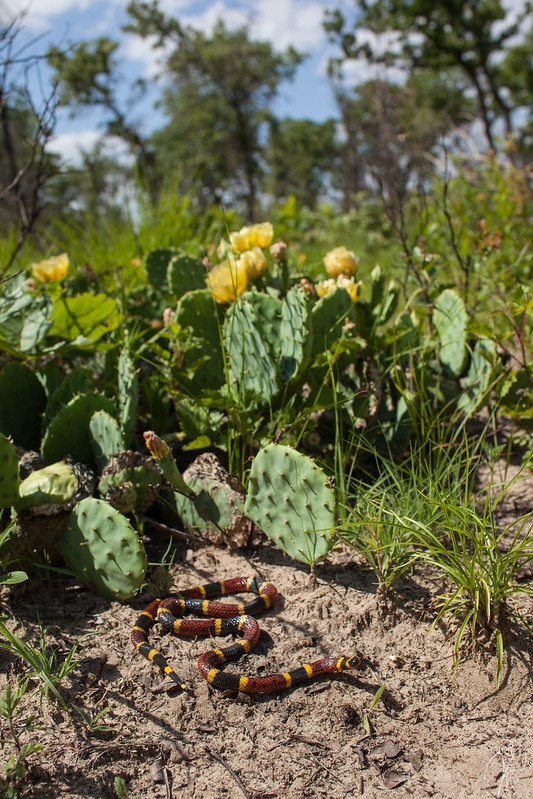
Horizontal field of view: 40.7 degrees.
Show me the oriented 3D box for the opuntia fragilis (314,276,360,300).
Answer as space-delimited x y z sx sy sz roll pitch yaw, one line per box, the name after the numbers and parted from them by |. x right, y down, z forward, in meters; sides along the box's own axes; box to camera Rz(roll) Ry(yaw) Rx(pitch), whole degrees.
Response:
0.304 -0.490 3.109 0.162 0.075 0.122 -6 8 13 | opuntia fragilis

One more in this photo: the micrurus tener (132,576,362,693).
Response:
-0.110 0.786 2.314 0.517 0.179 0.635 -20 18 -28 | micrurus tener

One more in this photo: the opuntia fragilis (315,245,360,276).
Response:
0.316 -0.622 3.218 0.155 0.157 0.150 5 50 17 | opuntia fragilis

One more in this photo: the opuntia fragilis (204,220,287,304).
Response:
-0.115 -0.525 3.091 0.337 0.455 0.293 -5 11 -18 | opuntia fragilis
